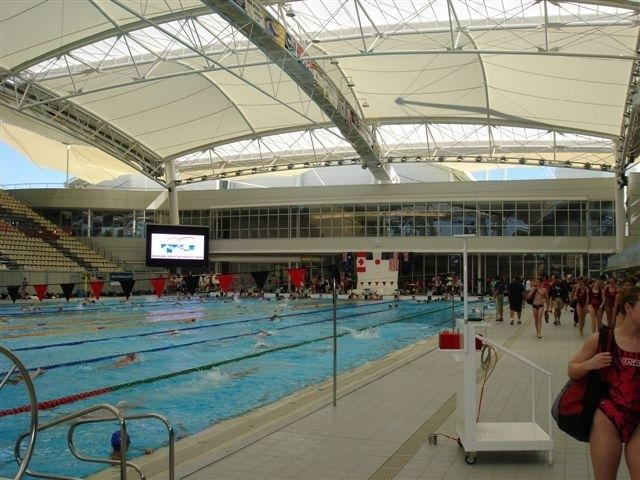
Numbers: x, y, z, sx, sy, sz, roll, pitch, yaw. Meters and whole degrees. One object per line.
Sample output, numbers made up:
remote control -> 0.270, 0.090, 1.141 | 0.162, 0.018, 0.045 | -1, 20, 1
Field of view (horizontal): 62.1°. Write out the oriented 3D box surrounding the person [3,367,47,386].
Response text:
person -> -6.502, 2.967, 11.817 | 0.611, 0.215, 1.642 | -3, 3, -22

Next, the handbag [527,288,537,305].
handbag -> 6.712, 1.771, 16.908 | 0.287, 0.592, 0.996 | -3, 2, 20

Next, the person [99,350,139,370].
person -> -5.007, 3.065, 13.389 | 0.240, 0.449, 1.078 | 25, 18, 31
